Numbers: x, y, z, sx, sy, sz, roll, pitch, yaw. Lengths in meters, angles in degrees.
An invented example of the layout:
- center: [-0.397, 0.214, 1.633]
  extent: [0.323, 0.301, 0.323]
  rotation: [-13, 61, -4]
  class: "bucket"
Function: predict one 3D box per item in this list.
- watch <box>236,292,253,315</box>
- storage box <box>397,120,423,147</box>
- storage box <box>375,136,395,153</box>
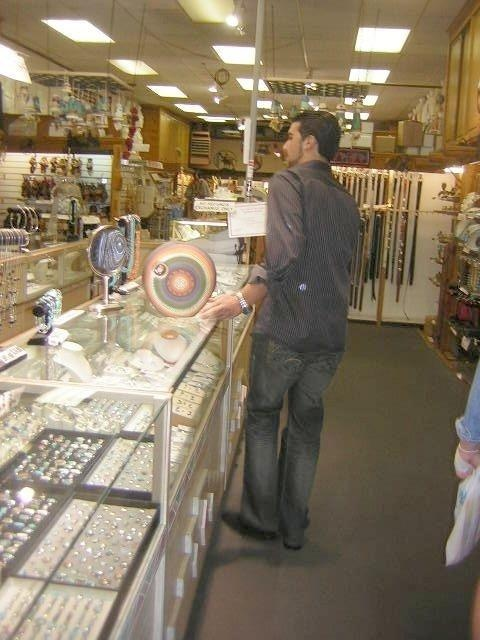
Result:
- center: [0.019, -0.062, 1.707]
  extent: [0.058, 0.080, 0.088]
  rotation: [-19, -16, 3]
  class: "watch"
- center: [2.331, -2.520, 5.819]
  extent: [0.339, 0.373, 0.230]
  rotation: [7, 10, 20]
  class: "storage box"
- center: [2.125, -2.534, 6.283]
  extent: [0.265, 0.251, 0.255]
  rotation: [0, 3, 6]
  class: "storage box"
